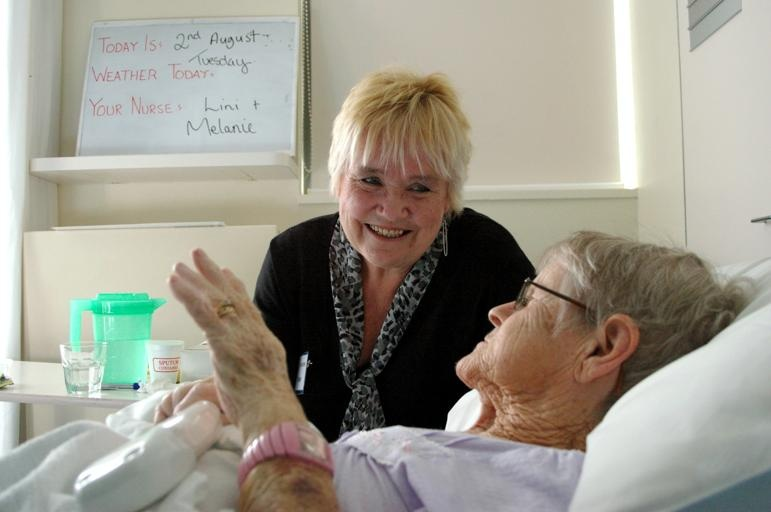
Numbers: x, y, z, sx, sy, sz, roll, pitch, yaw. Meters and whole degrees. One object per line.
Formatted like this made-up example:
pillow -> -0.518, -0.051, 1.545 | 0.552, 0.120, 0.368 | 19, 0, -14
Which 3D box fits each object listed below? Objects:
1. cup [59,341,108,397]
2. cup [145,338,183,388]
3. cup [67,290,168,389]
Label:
cup -> -1.171, 0.446, 2.725 | 0.182, 0.216, 0.191 | -2, -8, 0
cup -> -0.913, 0.441, 2.822 | 0.165, 0.202, 0.169 | -1, -14, 0
cup -> -1.227, 0.358, 3.097 | 0.487, 0.519, 0.337 | -1, 2, -14
